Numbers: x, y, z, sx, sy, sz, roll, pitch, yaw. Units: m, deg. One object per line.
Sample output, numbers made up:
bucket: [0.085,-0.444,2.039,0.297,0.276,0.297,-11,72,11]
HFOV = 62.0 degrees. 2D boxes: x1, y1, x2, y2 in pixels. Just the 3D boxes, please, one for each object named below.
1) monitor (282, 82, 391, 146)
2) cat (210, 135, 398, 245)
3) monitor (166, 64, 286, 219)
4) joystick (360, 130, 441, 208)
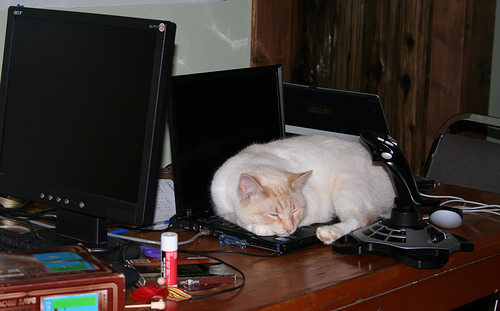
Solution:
monitor: [0.421,-0.231,2.100,0.465,0.270,0.401,11,24,20]
cat: [0.198,0.096,1.752,0.773,0.263,0.606,-8,30,-26]
monitor: [-0.143,-0.148,1.930,0.717,0.657,0.530,-10,18,-32]
joystick: [0.490,0.047,1.460,0.101,0.192,0.264,-26,47,-20]
